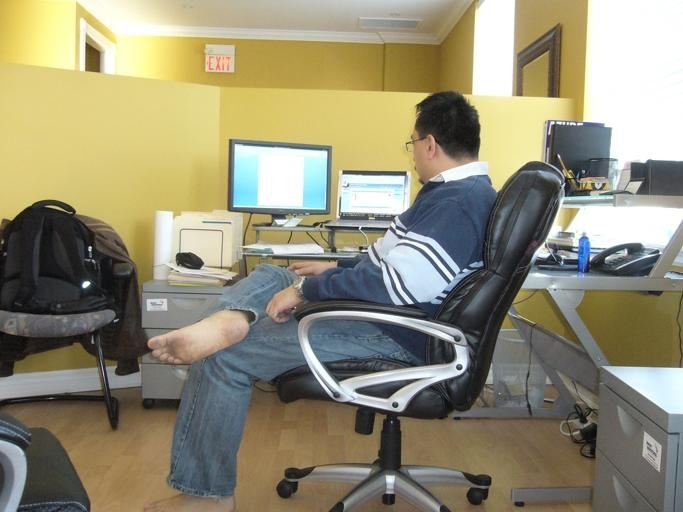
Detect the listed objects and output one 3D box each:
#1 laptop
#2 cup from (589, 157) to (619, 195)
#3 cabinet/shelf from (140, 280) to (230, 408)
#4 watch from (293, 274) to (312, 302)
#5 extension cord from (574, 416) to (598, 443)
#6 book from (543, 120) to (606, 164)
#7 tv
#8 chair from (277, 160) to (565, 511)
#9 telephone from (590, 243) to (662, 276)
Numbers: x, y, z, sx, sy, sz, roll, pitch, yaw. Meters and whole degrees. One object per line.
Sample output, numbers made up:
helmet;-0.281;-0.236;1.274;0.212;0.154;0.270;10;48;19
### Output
laptop;0.171;-0.342;3.438;0.532;0.348;0.477;5;7;26
cup;1.444;-0.446;3.240;0.207;0.199;0.209;2;7;0
cabinet/shelf;-0.939;0.505;3.404;0.517;0.683;0.442;1;0;-8
watch;-0.169;0.119;2.256;0.057;0.097;0.092;8;18;17
extension cord;1.292;0.897;2.991;0.144;0.062;0.100;-21;38;16
book;1.435;-0.679;3.456;0.295;0.216;0.172;1;22;15
tv;-0.380;-0.451;3.525;0.581;0.441;0.153;1;0;-9
chair;0.388;0.419;2.902;1.351;1.756;1.064;2;-1;3
telephone;1.425;0.007;2.849;0.327;0.120;0.347;-8;7;3
